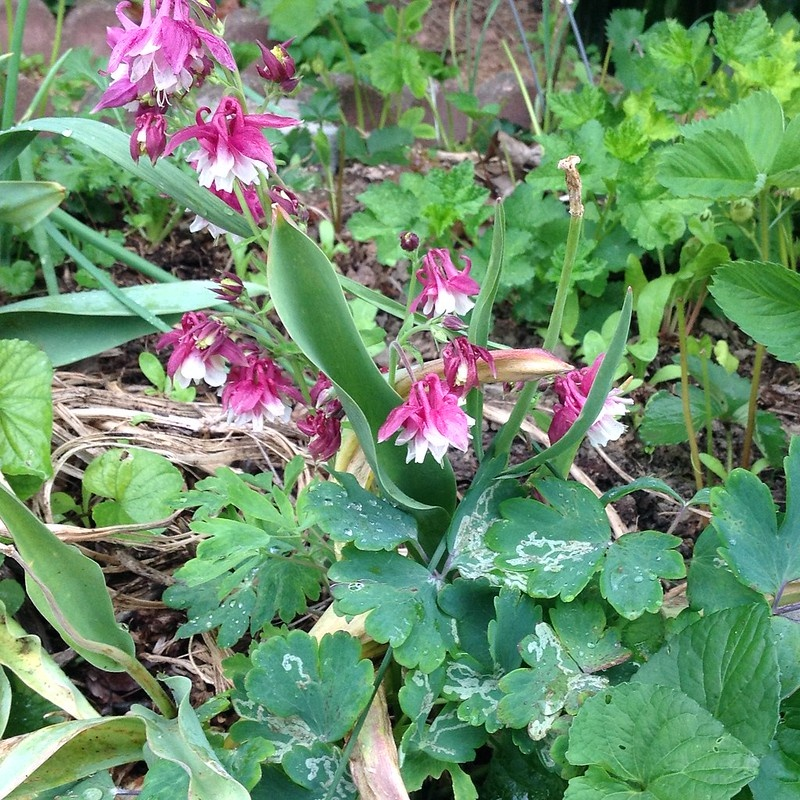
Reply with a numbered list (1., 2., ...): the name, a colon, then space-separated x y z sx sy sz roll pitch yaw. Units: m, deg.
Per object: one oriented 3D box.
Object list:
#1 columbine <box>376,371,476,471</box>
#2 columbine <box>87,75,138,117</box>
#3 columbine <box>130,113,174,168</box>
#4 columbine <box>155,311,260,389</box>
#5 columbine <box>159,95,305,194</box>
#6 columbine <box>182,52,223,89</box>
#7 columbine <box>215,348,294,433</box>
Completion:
1. columbine: 0.035 0.018 1.111 0.109 0.092 0.099 7 37 10
2. columbine: -0.415 -0.428 1.233 0.070 0.043 0.025 -39 12 17
3. columbine: -0.353 -0.368 1.239 0.051 0.090 0.037 5 -7 5
4. columbine: -0.314 -0.086 1.358 0.117 0.130 0.162 -15 38 -19
5. columbine: -0.234 -0.336 1.191 0.147 0.086 0.148 7 52 3
6. columbine: -0.272 -0.450 1.195 0.022 0.046 0.049 25 48 38
7. columbine: -0.221 0.002 1.370 0.112 0.071 0.116 35 68 9
